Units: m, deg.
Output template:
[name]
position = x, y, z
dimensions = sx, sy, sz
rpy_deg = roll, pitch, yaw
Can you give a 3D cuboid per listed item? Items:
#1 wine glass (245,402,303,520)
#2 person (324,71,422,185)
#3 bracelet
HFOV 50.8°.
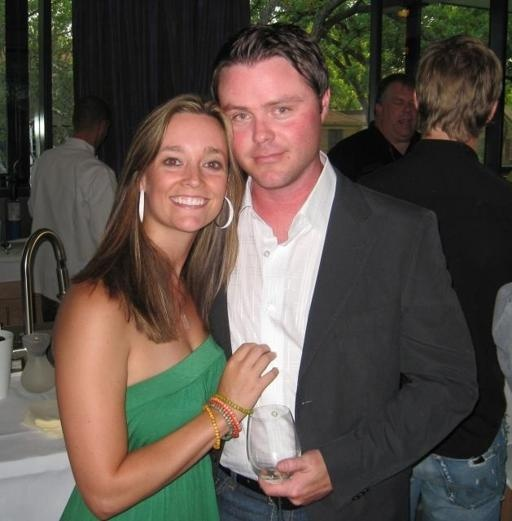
[wine glass]
position = 0.038, 0.383, 1.157
dimensions = 0.112, 0.159, 0.069
rpy_deg = -1, 6, 3
[person]
position = 0.911, -0.892, 3.638
dimensions = 0.801, 0.751, 0.406
rpy_deg = -7, 23, -12
[bracelet]
position = -0.067, 0.356, 1.256
dimensions = 0.052, 0.123, 0.098
rpy_deg = -34, 14, -20
